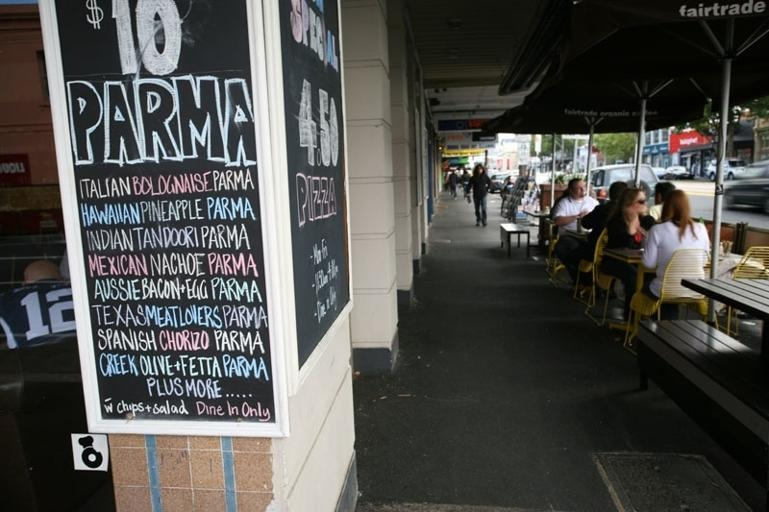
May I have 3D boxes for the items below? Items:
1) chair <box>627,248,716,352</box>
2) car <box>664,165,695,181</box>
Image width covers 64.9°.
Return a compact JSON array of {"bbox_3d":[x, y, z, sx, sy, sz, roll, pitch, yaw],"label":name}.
[{"bbox_3d":[3.129,0.512,6.791,0.538,1.048,0.643,1,5,-13],"label":"chair"},{"bbox_3d":[19.558,-5.480,40.329,1.272,1.046,2.860,1,9,18],"label":"car"}]
